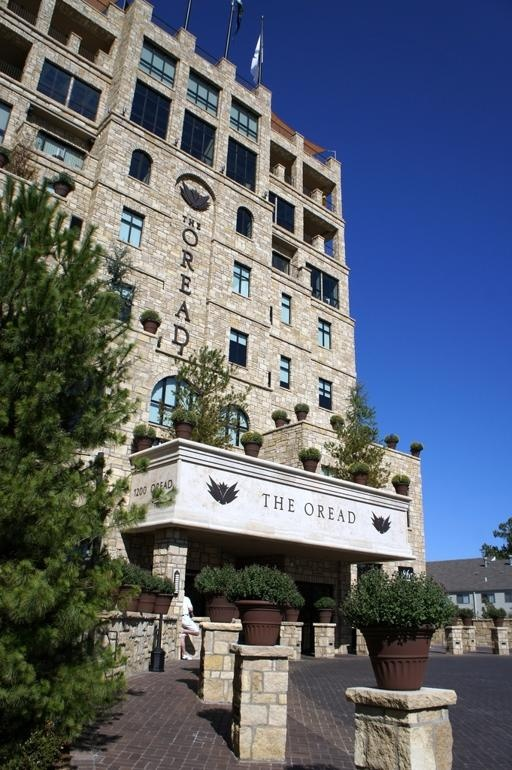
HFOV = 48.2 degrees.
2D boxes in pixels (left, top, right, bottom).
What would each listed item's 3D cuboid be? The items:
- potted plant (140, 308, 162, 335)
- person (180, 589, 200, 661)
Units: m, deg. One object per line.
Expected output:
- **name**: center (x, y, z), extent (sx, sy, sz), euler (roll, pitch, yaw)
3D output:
- **potted plant**: center (-4.310, -2.562, 23.269), extent (0.900, 1.079, 0.906), euler (4, -1, -23)
- **person**: center (-1.779, 6.503, 15.376), extent (0.493, 1.505, 1.241), euler (4, -18, -1)
